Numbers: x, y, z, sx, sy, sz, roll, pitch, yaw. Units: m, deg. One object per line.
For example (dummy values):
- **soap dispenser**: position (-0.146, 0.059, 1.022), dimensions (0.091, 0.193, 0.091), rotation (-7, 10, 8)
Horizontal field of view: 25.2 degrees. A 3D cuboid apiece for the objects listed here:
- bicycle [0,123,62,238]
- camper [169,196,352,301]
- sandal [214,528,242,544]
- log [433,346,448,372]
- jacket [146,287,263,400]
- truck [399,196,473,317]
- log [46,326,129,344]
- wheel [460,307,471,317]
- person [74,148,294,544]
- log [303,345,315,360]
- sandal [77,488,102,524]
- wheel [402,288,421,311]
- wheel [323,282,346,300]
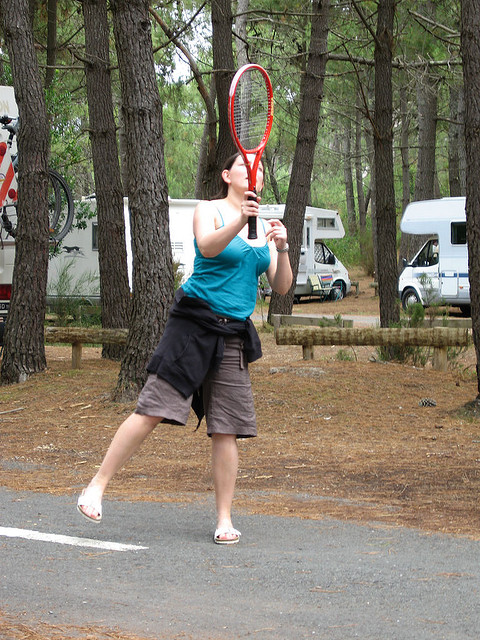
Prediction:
- **bicycle**: position (-2.673, -1.685, 13.317), dimensions (0.825, 1.454, 0.339), rotation (-1, 8, 20)
- **camper**: position (0.886, -1.812, 29.278), dimensions (4.353, 2.825, 1.614), rotation (1, 1, -20)
- **sandal**: position (-0.059, 0.992, 4.933), dimensions (0.117, 0.074, 0.084), rotation (-1, 3, -6)
- **log**: position (2.266, 0.448, 12.346), dimensions (0.100, 0.275, 0.233), rotation (-3, 3, -40)
- **jacket**: position (-0.142, 0.058, 5.005), dimensions (0.447, 0.573, 0.284), rotation (10, 12, -17)
- **truck**: position (3.697, -1.191, 20.394), dimensions (2.064, 2.331, 0.938), rotation (-4, -6, 41)
- **log**: position (-1.667, 0.188, 11.940), dimensions (1.370, 0.179, 0.228), rotation (2, 4, 40)
- **wheel**: position (4.683, -0.167, 22.535), dimensions (0.157, 0.221, 0.045), rotation (-2, -4, 3)
- **person**: position (-0.210, 0.089, 5.210), dimensions (0.921, 1.868, 1.167), rotation (-1, 3, 3)
- **log**: position (0.785, 0.377, 12.504), dimensions (0.114, 0.184, 0.275), rotation (-1, 3, 0)
- **sandal**: position (-0.677, 0.857, 4.878), dimensions (0.093, 0.140, 0.091), rotation (-1, 3, 7)
- **wheel**: position (3.203, -0.401, 20.244), dimensions (0.120, 0.456, 0.370), rotation (1, -1, -26)
- **wheel**: position (2.681, -0.801, 30.316), dimensions (0.339, 0.626, 0.496), rotation (4, 9, 15)
